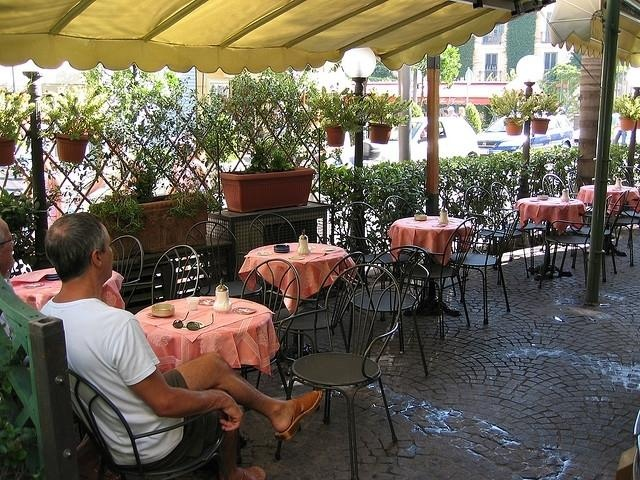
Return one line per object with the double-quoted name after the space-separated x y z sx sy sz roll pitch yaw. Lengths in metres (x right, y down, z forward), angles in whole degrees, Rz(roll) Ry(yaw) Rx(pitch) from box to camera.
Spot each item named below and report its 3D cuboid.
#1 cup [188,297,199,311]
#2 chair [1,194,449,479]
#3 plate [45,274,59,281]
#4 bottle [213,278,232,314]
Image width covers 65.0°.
-0.987 0.508 3.938 0.080 0.079 0.088 0 -3 0 "cup"
-0.933 0.249 3.719 1.870 2.456 1.084 -13 21 -32 "chair"
-2.394 0.334 4.494 0.141 0.062 0.148 2 1 -13 "plate"
-0.750 0.424 3.916 0.182 0.310 0.185 0 -1 0 "bottle"
